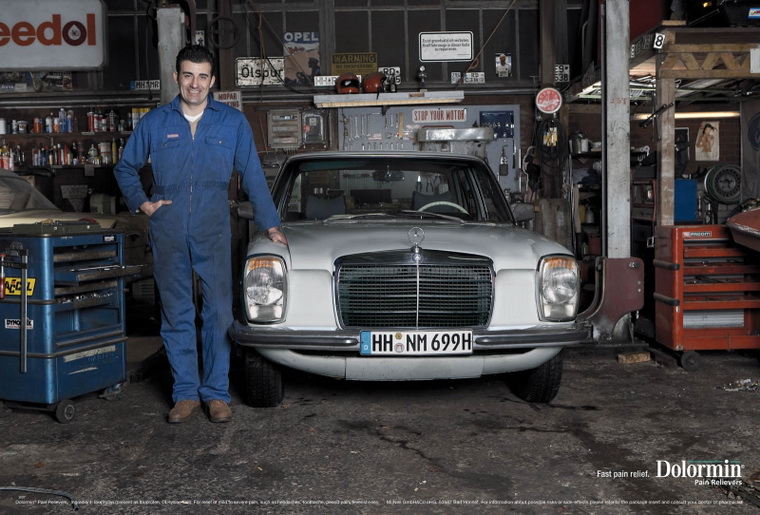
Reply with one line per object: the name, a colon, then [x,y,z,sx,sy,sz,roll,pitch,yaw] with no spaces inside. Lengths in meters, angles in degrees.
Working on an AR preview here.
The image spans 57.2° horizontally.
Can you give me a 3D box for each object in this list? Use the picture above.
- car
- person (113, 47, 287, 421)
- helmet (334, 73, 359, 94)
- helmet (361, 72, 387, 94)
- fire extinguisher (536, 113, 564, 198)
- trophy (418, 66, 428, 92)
car: [0.216,0.012,5.458,1.817,1.636,4.789,0,4,0]
person: [-1.407,-0.190,5.168,1.339,2.584,1.141,5,19,0]
helmet: [-0.474,-2.598,10.431,0.279,0.255,0.333,-1,3,-11]
helmet: [-0.089,-2.606,10.392,0.350,0.280,0.263,-1,14,-4]
fire extinguisher: [2.547,-1.546,10.593,0.406,1.277,0.382,11,13,41]
trophy: [0.646,-2.795,10.778,0.149,0.358,0.198,0,13,3]
